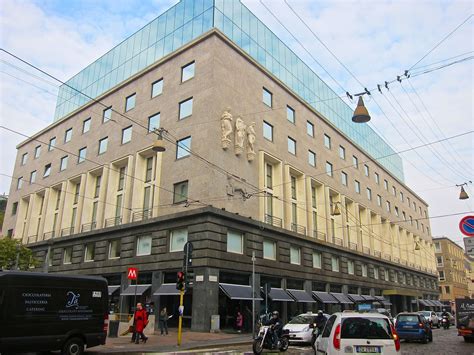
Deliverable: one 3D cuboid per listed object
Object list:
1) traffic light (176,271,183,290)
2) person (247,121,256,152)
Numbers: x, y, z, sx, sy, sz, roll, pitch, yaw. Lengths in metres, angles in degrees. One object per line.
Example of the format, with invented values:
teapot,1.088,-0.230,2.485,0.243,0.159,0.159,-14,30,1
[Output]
traffic light,-3.154,5.532,20.077,0.325,0.980,0.475,-22,-34,36
person,1.244,-3.551,33.190,0.828,3.199,1.373,-4,-27,6
